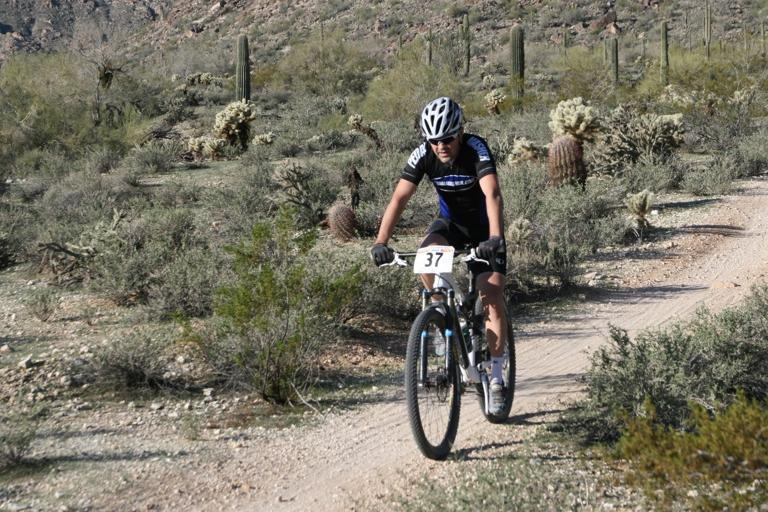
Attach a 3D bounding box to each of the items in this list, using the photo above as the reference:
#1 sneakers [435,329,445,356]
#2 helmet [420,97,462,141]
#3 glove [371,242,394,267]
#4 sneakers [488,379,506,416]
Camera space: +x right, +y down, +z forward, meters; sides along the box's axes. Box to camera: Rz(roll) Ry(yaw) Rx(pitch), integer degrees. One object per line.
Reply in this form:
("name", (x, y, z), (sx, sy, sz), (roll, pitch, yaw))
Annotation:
("sneakers", (0.759, 1.181, 11.283), (0.154, 0.329, 0.070), (0, 0, 0))
("helmet", (0.824, -1.968, 11.310), (0.396, 0.258, 0.654), (4, 47, 21))
("glove", (-0.004, -0.024, 11.332), (0.305, 0.317, 0.251), (-4, 7, -1))
("sneakers", (1.583, 1.966, 11.598), (0.164, 0.605, 0.214), (-2, -6, 9))
